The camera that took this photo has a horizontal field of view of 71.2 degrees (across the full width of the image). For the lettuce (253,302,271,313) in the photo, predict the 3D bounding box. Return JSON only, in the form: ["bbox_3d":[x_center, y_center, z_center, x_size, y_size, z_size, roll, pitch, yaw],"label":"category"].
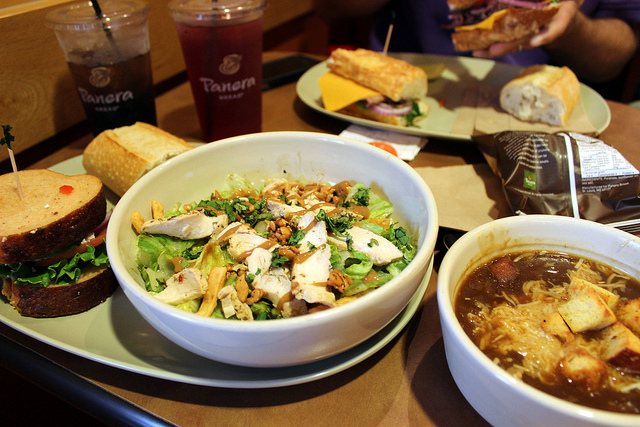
[{"bbox_3d":[-0.215,0.348,1.669,0.067,0.022,0.031,9,50,7],"label":"lettuce"}]

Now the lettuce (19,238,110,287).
[{"bbox_3d":[-0.979,0.203,1.773,0.223,0.186,0.310,7,18,22],"label":"lettuce"}]

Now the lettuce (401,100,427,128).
[{"bbox_3d":[0.549,-0.580,2.636,0.140,0.138,0.050,3,1,-6],"label":"lettuce"}]

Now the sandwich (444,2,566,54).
[{"bbox_3d":[1.122,-1.143,2.699,0.474,0.170,0.395,-7,29,16],"label":"sandwich"}]

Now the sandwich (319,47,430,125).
[{"bbox_3d":[0.309,-0.719,2.550,0.516,0.279,0.514,27,46,27],"label":"sandwich"}]

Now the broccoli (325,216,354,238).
[{"bbox_3d":[0.083,0.048,1.821,0.089,0.032,0.087,-24,55,-25],"label":"broccoli"}]

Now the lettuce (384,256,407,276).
[{"bbox_3d":[0.298,0.206,1.728,0.076,0.031,0.052,-15,51,-13],"label":"lettuce"}]

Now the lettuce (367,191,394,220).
[{"bbox_3d":[0.243,-0.031,1.999,0.170,0.042,0.183,-13,11,-4],"label":"lettuce"}]

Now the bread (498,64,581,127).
[{"bbox_3d":[1.356,-0.719,2.672,0.319,0.232,0.405,-31,36,-26],"label":"bread"}]

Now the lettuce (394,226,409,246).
[{"bbox_3d":[0.331,0.092,1.798,0.052,0.020,0.057,-24,67,-9],"label":"lettuce"}]

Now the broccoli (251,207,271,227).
[{"bbox_3d":[-0.251,0.009,1.909,0.082,0.029,0.081,-26,38,-33],"label":"broccoli"}]

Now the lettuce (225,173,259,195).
[{"bbox_3d":[-0.353,-0.117,2.018,0.146,0.034,0.076,36,70,-7],"label":"lettuce"}]

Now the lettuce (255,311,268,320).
[{"bbox_3d":[-0.211,0.376,1.644,0.025,0.024,0.034,0,9,3],"label":"lettuce"}]

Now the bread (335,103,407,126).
[{"bbox_3d":[0.307,-0.580,2.625,0.422,0.083,0.074,22,53,18],"label":"bread"}]

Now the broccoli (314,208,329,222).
[{"bbox_3d":[0.005,0.009,1.801,0.033,0.020,0.051,15,22,16],"label":"broccoli"}]

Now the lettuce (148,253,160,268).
[{"bbox_3d":[-0.650,0.177,1.741,0.019,0.033,0.053,37,59,27],"label":"lettuce"}]

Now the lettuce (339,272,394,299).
[{"bbox_3d":[0.190,0.257,1.673,0.149,0.031,0.097,-18,16,-26],"label":"lettuce"}]

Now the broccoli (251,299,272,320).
[{"bbox_3d":[-0.212,0.358,1.660,0.061,0.020,0.061,27,44,12],"label":"broccoli"}]

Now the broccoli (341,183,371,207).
[{"bbox_3d":[0.169,-0.076,1.950,0.103,0.031,0.102,20,86,19],"label":"broccoli"}]

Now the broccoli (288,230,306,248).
[{"bbox_3d":[-0.094,0.105,1.801,0.051,0.019,0.072,3,30,8],"label":"broccoli"}]

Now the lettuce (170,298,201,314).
[{"bbox_3d":[-0.472,0.337,1.631,0.062,0.070,0.049,1,88,3],"label":"lettuce"}]

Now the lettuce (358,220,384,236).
[{"bbox_3d":[0.212,0.058,1.843,0.084,0.022,0.046,26,61,24],"label":"lettuce"}]

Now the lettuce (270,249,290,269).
[{"bbox_3d":[-0.157,0.172,1.704,0.060,0.018,0.060,7,26,3],"label":"lettuce"}]
